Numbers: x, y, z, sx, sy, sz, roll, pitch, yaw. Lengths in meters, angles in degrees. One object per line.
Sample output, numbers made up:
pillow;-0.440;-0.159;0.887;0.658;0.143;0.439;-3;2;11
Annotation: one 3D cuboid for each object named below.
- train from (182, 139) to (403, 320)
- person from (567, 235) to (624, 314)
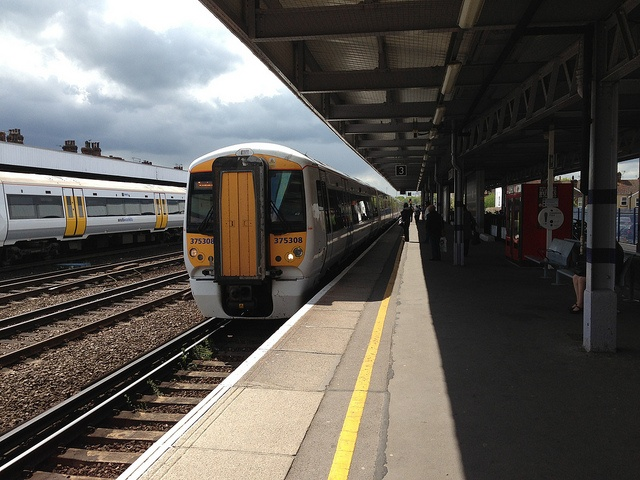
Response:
train;-0.686;-0.254;10.376;2.286;3.822;5.365;-1;5;20
person;4.649;0.761;6.985;0.796;1.354;2.125;1;6;36
